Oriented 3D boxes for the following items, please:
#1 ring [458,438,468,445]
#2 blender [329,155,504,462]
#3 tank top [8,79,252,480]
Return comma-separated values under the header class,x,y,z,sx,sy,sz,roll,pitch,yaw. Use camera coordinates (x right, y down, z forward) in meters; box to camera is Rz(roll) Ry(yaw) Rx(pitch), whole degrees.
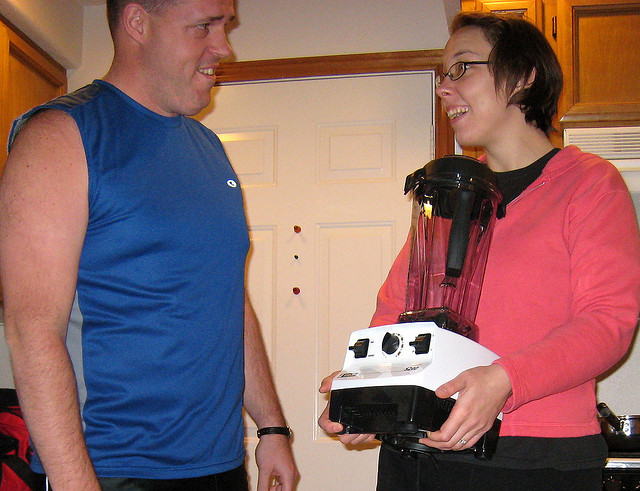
class,x,y,z,sx,sy,sz,roll,pitch,yaw
ring,0.261,0.359,1.127,0.015,0.014,0.004,5,23,3
blender,0.243,0.117,1.314,0.343,0.601,0.329,15,-16,-9
tank top,-0.369,0.071,1.325,0.487,0.870,0.268,-6,5,-29
